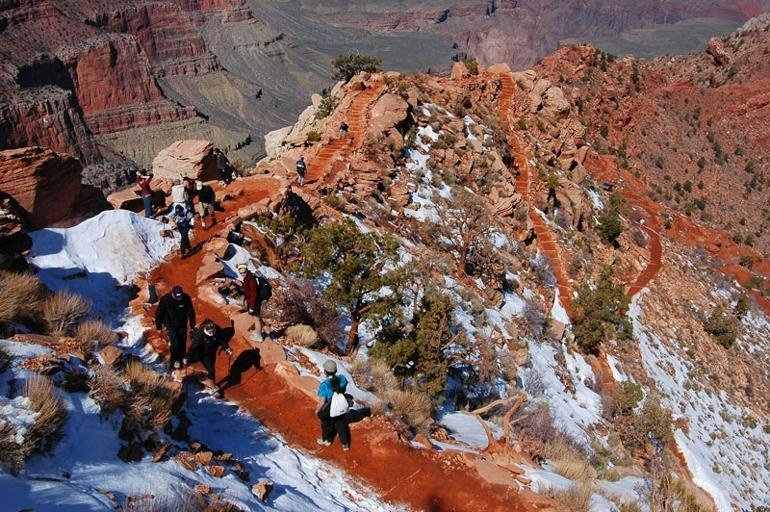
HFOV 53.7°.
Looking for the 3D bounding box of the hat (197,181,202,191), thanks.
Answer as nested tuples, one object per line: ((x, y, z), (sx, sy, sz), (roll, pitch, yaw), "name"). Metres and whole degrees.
((-17.932, -6.824, 73.155), (0.508, 0.715, 0.722), (-17, 30, -36), "hat")
